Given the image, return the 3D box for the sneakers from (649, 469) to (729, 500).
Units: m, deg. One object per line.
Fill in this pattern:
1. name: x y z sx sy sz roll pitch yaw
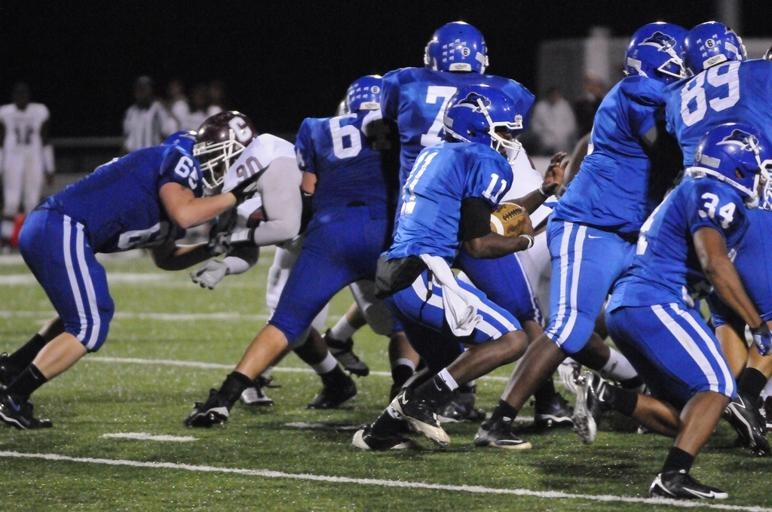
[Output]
1. sneakers: 1.391 1.047 4.821 0.379 0.137 0.128 0 -9 2

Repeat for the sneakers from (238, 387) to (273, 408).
1. sneakers: -0.804 0.880 6.539 0.268 0.103 0.112 2 3 -7

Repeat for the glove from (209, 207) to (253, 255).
1. glove: -0.893 -0.141 6.008 0.211 0.288 0.112 34 -12 2

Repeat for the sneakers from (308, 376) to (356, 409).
1. sneakers: -0.317 0.846 6.568 0.356 0.132 0.123 -21 14 -24

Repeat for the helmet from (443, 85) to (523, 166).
1. helmet: 0.573 -0.666 5.538 0.474 0.344 0.375 8 -3 35

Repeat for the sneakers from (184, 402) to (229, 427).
1. sneakers: -0.987 0.890 5.899 0.324 0.141 0.110 -10 -12 30

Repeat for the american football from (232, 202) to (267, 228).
1. american football: -0.781 -0.267 6.105 0.162 0.038 0.168 -34 39 -32

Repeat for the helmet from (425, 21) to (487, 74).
1. helmet: 0.409 -1.204 6.162 0.336 0.341 0.440 1 9 -6
